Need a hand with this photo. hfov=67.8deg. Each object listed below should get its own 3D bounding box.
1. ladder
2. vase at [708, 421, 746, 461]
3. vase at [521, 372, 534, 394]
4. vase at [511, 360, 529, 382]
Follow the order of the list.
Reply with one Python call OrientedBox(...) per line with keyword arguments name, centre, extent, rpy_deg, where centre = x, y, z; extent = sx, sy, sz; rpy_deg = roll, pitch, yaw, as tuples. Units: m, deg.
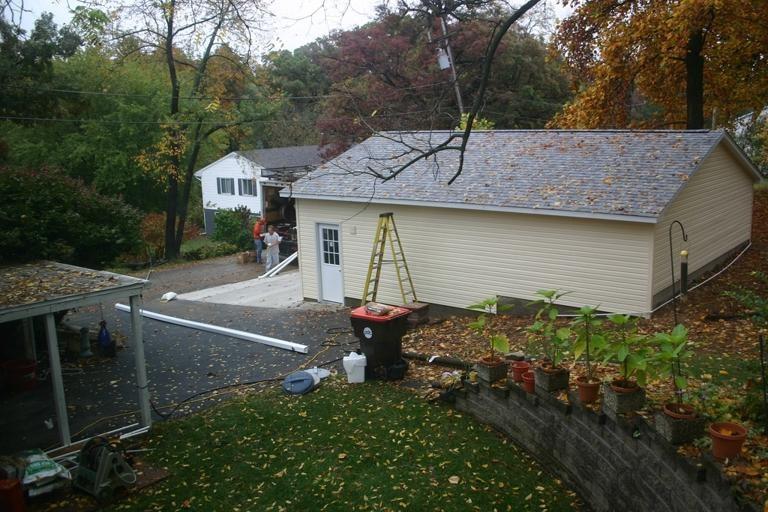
OrientedBox(name="ladder", centre=(0.178, 0.084, 17.366), extent=(1.743, 2.831, 1.363), rpy_deg=(3, 5, 13))
OrientedBox(name="vase", centre=(4.756, 2.590, 7.992), extent=(0.434, 0.277, 0.430), rpy_deg=(7, 12, 29))
OrientedBox(name="vase", centre=(2.629, 2.319, 10.350), extent=(0.358, 0.213, 0.325), rpy_deg=(-1, 12, 19))
OrientedBox(name="vase", centre=(2.528, 2.177, 10.714), extent=(0.416, 0.306, 0.391), rpy_deg=(-1, 3, 37))
